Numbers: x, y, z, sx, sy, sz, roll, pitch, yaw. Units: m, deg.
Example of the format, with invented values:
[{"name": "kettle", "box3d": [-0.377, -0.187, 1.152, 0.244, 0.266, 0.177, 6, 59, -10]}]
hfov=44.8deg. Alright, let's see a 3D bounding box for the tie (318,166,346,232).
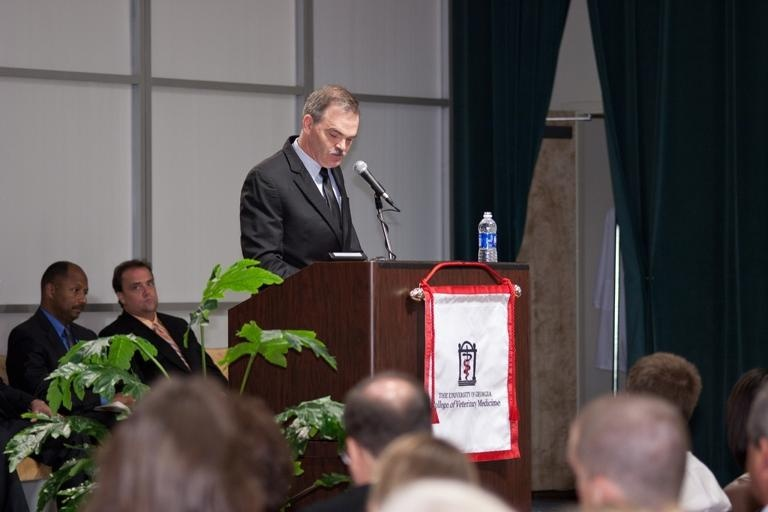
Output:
[{"name": "tie", "box3d": [-0.248, -0.276, 4.445, 0.061, 0.040, 0.464, 11, 37, -20]}]
